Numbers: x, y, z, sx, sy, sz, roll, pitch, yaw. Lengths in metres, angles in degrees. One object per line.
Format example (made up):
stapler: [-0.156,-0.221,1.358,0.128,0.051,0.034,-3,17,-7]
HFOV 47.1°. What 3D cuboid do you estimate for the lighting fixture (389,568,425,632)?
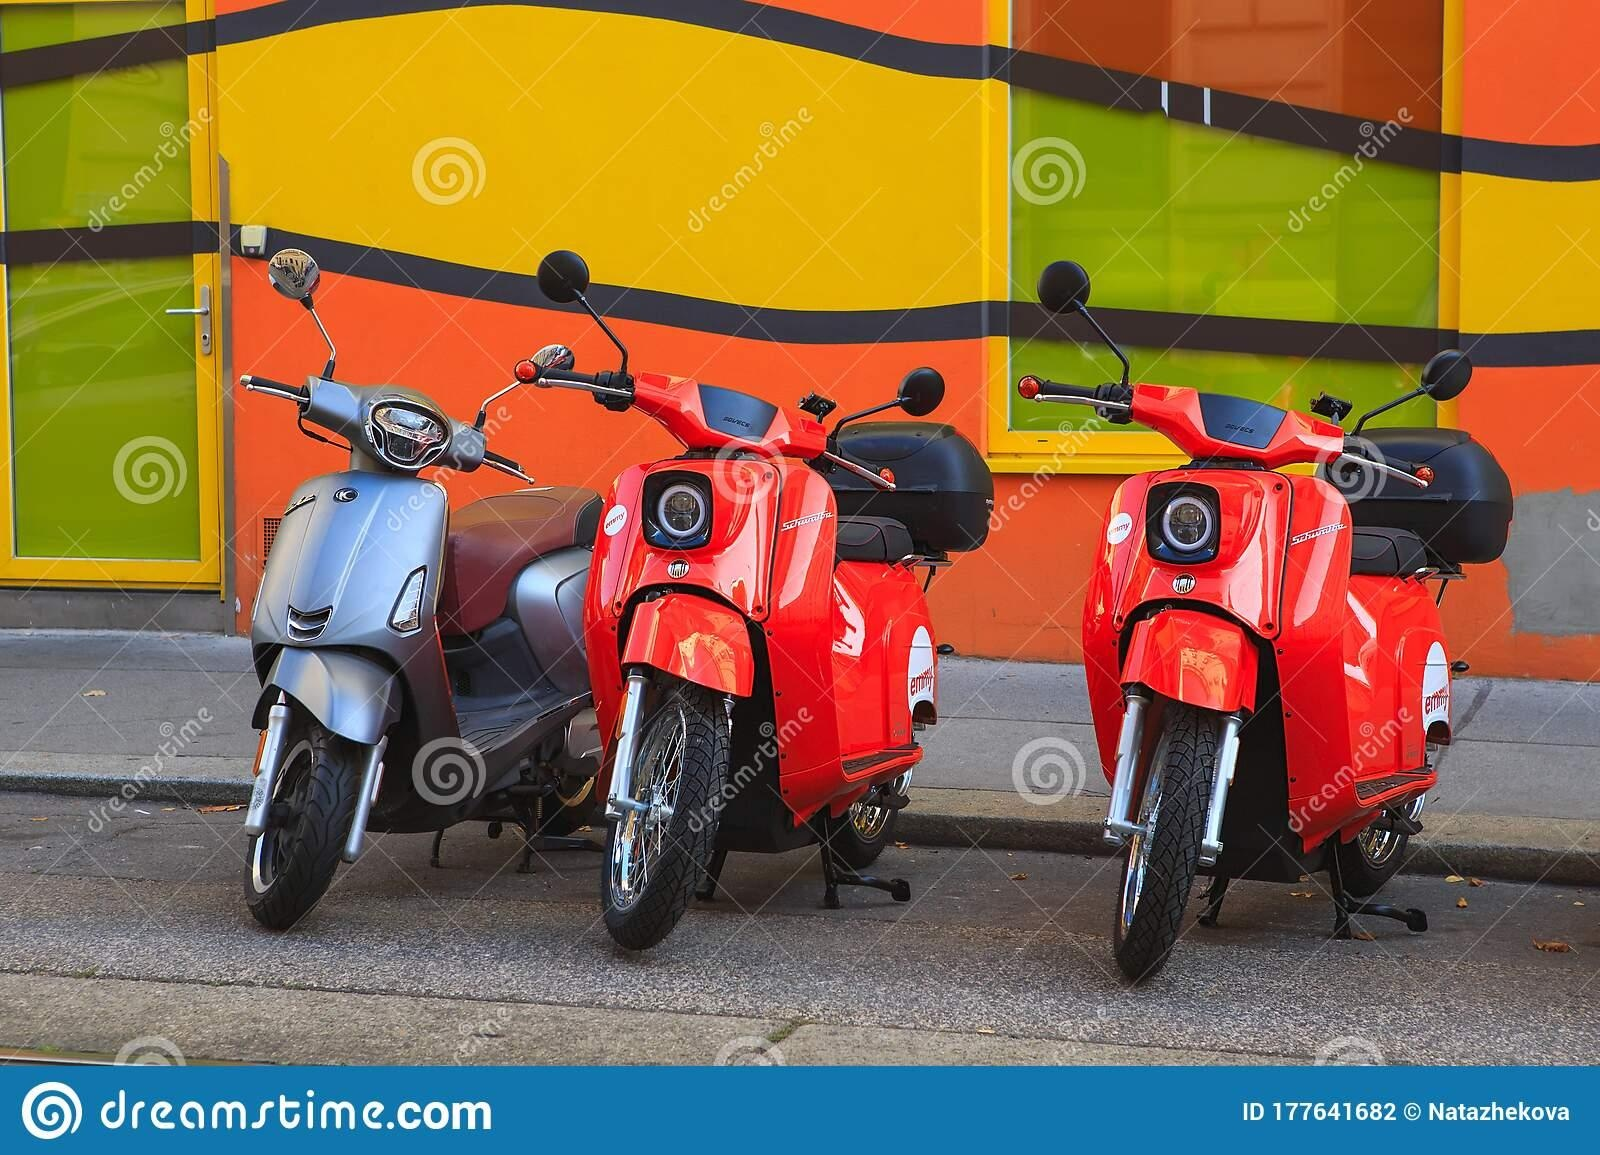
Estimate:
lighting fixture: [-1.335,0.070,6.376,0.078,0.201,0.162,5,11,11]

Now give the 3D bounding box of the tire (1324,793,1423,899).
tire: [2.005,0.937,6.487,0.128,0.392,0.374,-6,14,33]

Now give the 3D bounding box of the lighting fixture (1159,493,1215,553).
lighting fixture: [1.246,-0.175,5.907,0.162,0.174,0.079,5,11,10]

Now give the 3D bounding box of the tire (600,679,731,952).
tire: [-0.437,0.737,5.963,0.237,0.759,0.765,12,-31,-12]

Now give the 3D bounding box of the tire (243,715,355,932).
tire: [-1.669,0.823,6.200,0.196,0.634,0.606,16,43,-23]

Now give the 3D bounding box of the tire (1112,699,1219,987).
tire: [1.163,0.840,5.809,0.243,0.853,0.326,7,12,21]

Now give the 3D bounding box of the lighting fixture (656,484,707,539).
lighting fixture: [-0.375,-0.225,6.029,0.162,0.175,0.081,1,11,-7]

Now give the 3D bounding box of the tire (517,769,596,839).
tire: [-0.877,0.878,7.083,0.270,0.297,0.083,-5,17,-15]
